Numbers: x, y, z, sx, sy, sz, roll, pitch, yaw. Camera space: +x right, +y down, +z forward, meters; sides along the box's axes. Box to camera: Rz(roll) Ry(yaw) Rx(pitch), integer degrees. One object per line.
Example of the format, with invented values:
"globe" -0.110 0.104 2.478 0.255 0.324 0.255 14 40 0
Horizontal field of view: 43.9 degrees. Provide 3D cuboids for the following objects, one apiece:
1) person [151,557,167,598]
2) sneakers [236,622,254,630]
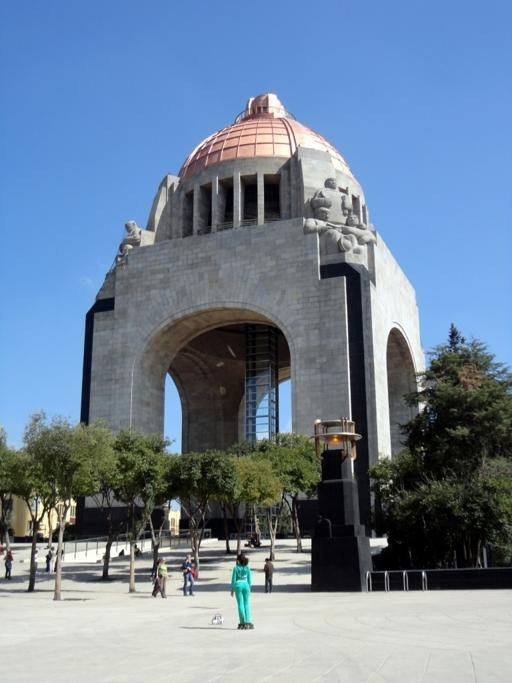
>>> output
"person" -2.960 7.182 19.389 0.417 1.213 2.046 1 -15 -9
"sneakers" -0.159 4.292 9.593 0.244 0.094 0.202 -2 -14 0
